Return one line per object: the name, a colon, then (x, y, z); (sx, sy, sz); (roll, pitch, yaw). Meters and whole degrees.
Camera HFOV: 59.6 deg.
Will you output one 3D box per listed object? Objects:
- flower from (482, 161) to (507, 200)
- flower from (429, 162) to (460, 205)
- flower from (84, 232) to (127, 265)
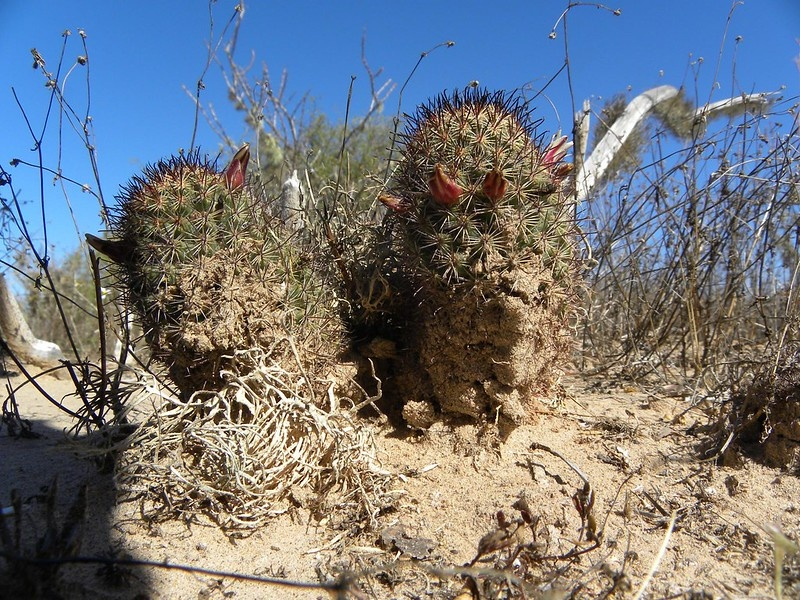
flower: (0.473, -0.565, 3.460); (0.132, 0.162, 0.108); (2, -4, -4)
flower: (0.226, -0.564, 3.488); (0.148, 0.178, 0.122); (5, -5, -35)
flower: (-1.511, -0.257, 3.578); (0.194, 0.137, 0.252); (5, -6, -36)
